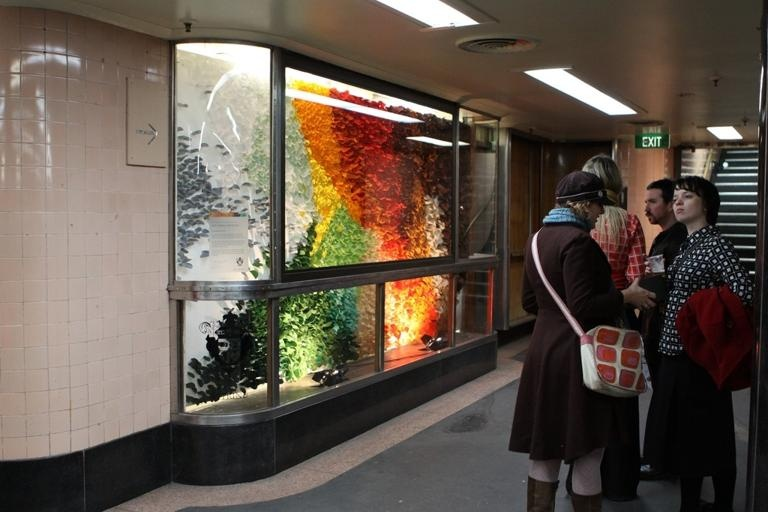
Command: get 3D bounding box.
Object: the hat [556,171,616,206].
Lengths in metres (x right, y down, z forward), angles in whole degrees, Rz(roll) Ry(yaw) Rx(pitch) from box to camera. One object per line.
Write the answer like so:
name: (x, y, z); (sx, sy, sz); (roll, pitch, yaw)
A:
hat: (1.325, -0.446, 3.621); (0.307, 0.167, 0.216); (-3, 8, -14)

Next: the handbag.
handbag: (1.383, 0.652, 3.379); (0.372, 0.355, 0.191); (8, -21, -17)
